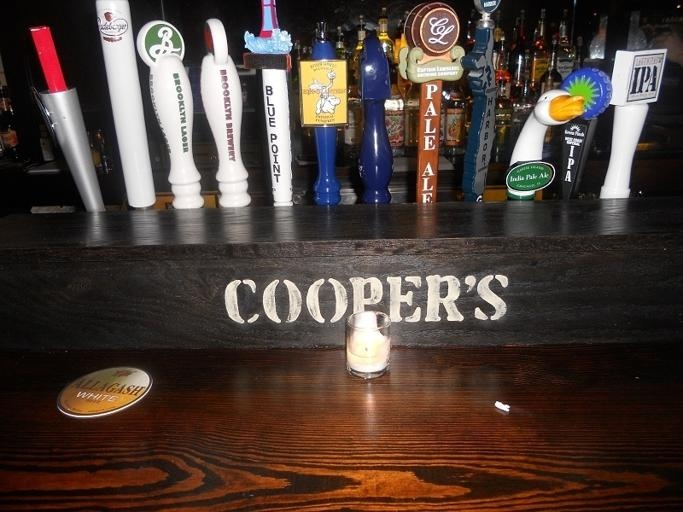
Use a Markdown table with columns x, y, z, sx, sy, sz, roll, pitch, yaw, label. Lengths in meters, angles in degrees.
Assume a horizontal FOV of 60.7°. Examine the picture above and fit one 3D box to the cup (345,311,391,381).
| x | y | z | sx | sy | sz | roll | pitch | yaw | label |
| --- | --- | --- | --- | --- | --- | --- | --- | --- | --- |
| 0.056 | 0.178 | 1.212 | 0.092 | 0.129 | 0.100 | 0 | 16 | 0 | cup |
